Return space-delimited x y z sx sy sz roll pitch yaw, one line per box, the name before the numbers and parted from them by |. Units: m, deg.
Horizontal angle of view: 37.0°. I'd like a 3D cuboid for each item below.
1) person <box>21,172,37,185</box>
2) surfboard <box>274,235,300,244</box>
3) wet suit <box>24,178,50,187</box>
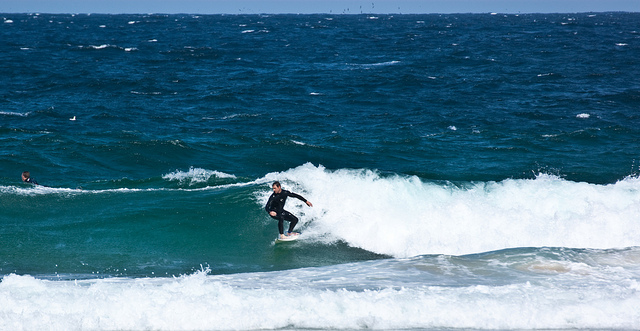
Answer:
person | -25.303 1.117 83.139 2.041 0.377 0.617 25 43 27
surfboard | -2.695 6.142 80.035 2.555 0.451 0.487 -5 -2 -15
wet suit | -24.934 1.406 83.255 1.125 0.331 0.382 21 10 -7
